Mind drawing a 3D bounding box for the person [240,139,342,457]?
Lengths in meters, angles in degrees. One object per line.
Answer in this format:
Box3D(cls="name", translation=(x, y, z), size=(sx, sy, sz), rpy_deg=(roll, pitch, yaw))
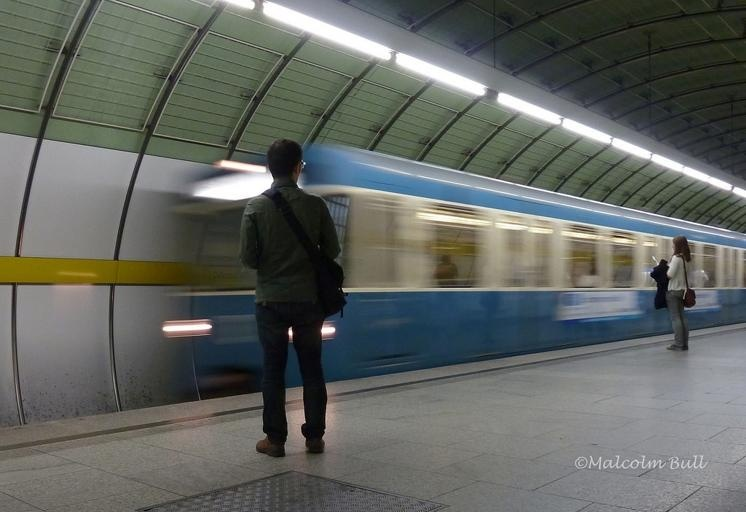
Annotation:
Box3D(cls="person", translation=(-0.750, 0.349, 4.318), size=(0.891, 2.881, 0.321), rpy_deg=(-1, -5, -13))
